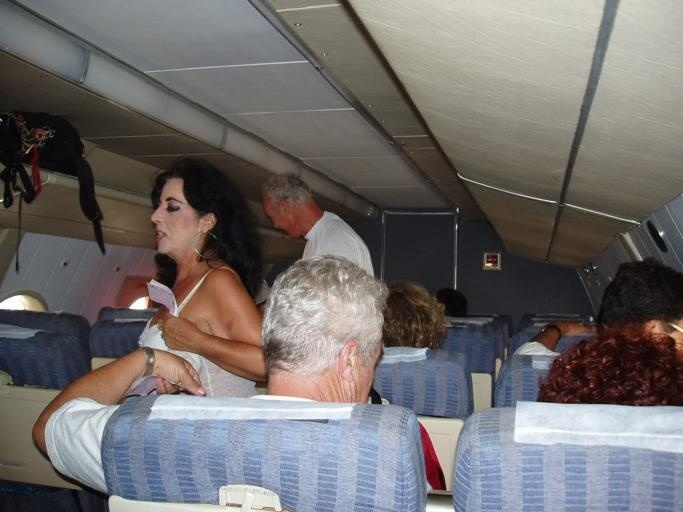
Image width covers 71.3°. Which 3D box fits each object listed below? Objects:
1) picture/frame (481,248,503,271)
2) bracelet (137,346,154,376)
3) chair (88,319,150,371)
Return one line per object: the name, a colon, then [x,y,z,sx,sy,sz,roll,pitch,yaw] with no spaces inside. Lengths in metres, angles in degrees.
picture/frame: [3.470,0.093,10.994,0.522,0.503,0.043,2,-1,7]
bracelet: [-0.700,0.380,1.738,0.089,0.086,0.088,1,2,-13]
chair: [-1.569,0.566,3.385,0.391,0.357,0.363,1,14,-6]
